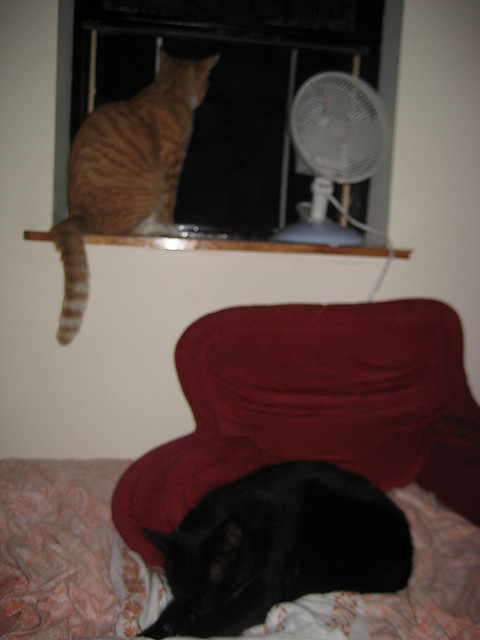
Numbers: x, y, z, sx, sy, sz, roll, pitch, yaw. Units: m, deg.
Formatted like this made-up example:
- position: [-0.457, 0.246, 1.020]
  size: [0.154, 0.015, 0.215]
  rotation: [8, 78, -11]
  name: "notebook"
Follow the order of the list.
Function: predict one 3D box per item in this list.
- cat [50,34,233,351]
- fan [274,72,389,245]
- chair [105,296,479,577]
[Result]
- position: [-0.223, -0.293, 1.293]
  size: [0.346, 0.679, 0.334]
  rotation: [6, 15, -5]
  name: "cat"
- position: [0.194, -0.329, 1.283]
  size: [0.224, 0.378, 0.223]
  rotation: [14, -2, -16]
  name: "fan"
- position: [0.138, 0.344, 1.647]
  size: [0.990, 0.744, 0.551]
  rotation: [-5, 50, -1]
  name: "chair"
